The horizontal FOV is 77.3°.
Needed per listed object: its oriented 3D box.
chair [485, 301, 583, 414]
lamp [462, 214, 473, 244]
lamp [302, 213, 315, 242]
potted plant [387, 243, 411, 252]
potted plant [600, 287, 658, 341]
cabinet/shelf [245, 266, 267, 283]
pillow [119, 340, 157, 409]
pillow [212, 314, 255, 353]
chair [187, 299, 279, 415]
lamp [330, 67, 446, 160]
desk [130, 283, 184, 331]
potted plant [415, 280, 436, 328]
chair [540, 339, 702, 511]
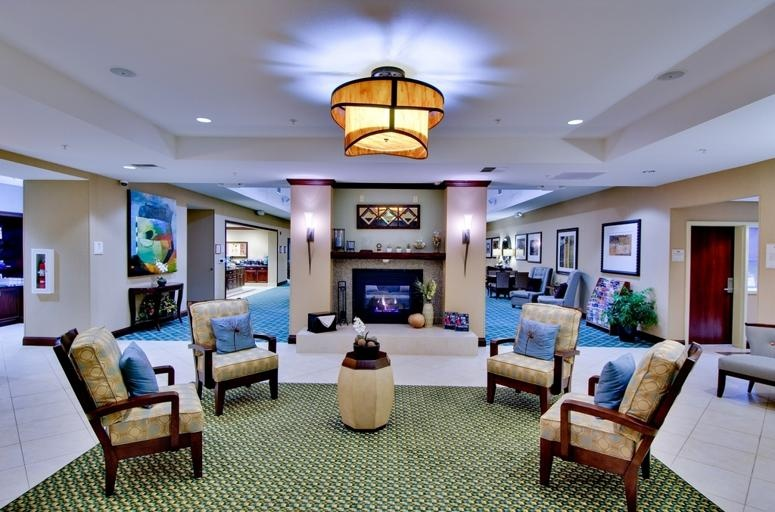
[{"bbox_3d":[2.053,1.408,6.797,1.206,1.346,1.226,4,2,22],"label":"chair"},{"bbox_3d":[1.487,-0.486,9.010,0.174,0.443,0.102,-1,0,8],"label":"lamp"},{"bbox_3d":[-1.423,-0.534,8.978,0.183,0.524,0.124,-1,0,-10],"label":"lamp"},{"bbox_3d":[0.252,-0.143,9.449,0.598,0.239,0.172,1,0,-3],"label":"potted plant"},{"bbox_3d":[4.805,1.150,9.793,0.940,1.004,0.938,2,-4,-2],"label":"potted plant"},{"bbox_3d":[-5.106,0.749,18.995,0.964,0.671,0.531,0,-2,-14],"label":"cabinet/shelf"},{"bbox_3d":[-2.892,1.410,5.644,0.367,0.540,0.748,3,4,-24],"label":"pillow"},{"bbox_3d":[-2.181,1.106,6.817,0.451,0.363,0.205,-13,15,-37],"label":"pillow"},{"bbox_3d":[-2.171,1.349,6.852,1.062,1.364,1.034,-3,6,-36],"label":"chair"},{"bbox_3d":[0.003,-1.595,6.051,1.162,0.852,1.127,1,-11,-3],"label":"lamp"},{"bbox_3d":[-4.786,1.067,10.167,0.499,1.008,1.268,-1,0,9],"label":"desk"},{"bbox_3d":[0.758,0.892,9.211,0.395,0.732,0.449,-1,0,4],"label":"potted plant"},{"bbox_3d":[2.764,1.860,6.045,1.831,2.259,1.530,0,-4,30],"label":"chair"}]
